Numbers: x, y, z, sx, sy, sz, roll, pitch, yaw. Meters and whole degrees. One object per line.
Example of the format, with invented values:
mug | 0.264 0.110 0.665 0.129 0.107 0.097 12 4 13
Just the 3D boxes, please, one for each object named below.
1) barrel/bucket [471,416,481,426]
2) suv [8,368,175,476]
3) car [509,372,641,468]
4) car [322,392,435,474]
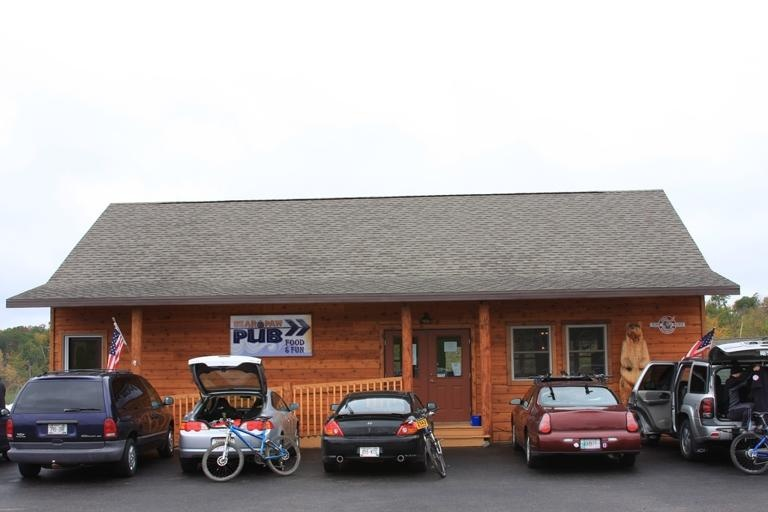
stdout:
barrel/bucket | 2.470 4.432 24.798 0.242 0.268 0.396 -1 3 -1
suv | -6.557 3.588 20.948 2.281 1.226 3.453 -2 -4 7
car | 4.425 3.892 21.234 2.399 1.939 2.355 -1 4 1
car | -0.239 4.054 20.822 2.365 1.752 1.344 -1 4 -1
